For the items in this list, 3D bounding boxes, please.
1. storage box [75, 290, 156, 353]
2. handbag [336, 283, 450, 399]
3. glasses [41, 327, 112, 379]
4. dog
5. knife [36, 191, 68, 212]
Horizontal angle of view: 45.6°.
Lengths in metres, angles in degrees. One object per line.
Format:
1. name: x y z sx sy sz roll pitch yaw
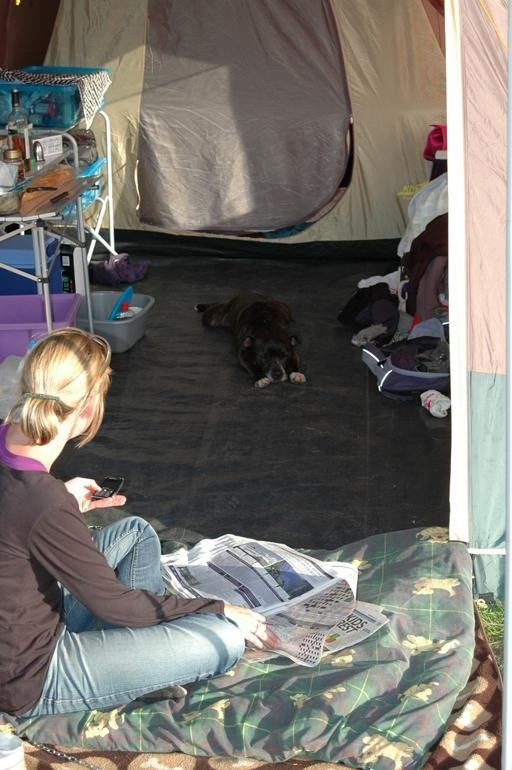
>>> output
1. storage box: -1.015 -0.464 4.421 0.472 0.236 0.620 4 21 10
2. handbag: 0.908 -0.270 4.092 0.632 0.321 0.824 -20 45 -11
3. glasses: -0.369 -0.057 1.284 0.107 0.046 0.123 15 -4 12
4. dog: 0.012 -0.466 4.650 0.647 0.420 1.354 -5 37 -20
5. knife: -1.044 -0.965 3.184 0.107 0.043 0.182 10 43 36
